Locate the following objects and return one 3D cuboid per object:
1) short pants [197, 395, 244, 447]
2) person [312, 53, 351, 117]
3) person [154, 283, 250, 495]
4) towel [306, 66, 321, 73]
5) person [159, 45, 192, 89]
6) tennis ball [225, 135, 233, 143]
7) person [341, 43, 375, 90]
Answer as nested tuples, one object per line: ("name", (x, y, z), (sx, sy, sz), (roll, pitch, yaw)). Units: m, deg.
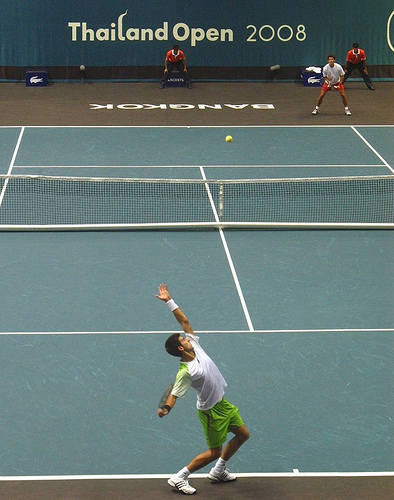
("short pants", (0.169, 1.195, 4.333), (0.331, 0.300, 0.185), (-27, 13, -36))
("person", (3.809, -4.699, 17.092), (1.106, 1.759, 0.918), (3, 32, 15))
("person", (0.046, 1.228, 5.243), (0.798, 1.712, 0.863), (-12, 20, -1))
("towel", (4.443, -6.871, 22.809), (0.379, 0.105, 0.281), (-1, 7, 4))
("person", (-0.779, -6.699, 21.993), (1.090, 1.499, 1.561), (0, 13, 4))
("tennis ball", (0.829, -2.872, 15.337), (0.203, 0.221, 0.194), (-3, 1, 0))
("person", (5.765, -6.675, 21.662), (1.301, 1.809, 0.647), (8, 51, 20))
